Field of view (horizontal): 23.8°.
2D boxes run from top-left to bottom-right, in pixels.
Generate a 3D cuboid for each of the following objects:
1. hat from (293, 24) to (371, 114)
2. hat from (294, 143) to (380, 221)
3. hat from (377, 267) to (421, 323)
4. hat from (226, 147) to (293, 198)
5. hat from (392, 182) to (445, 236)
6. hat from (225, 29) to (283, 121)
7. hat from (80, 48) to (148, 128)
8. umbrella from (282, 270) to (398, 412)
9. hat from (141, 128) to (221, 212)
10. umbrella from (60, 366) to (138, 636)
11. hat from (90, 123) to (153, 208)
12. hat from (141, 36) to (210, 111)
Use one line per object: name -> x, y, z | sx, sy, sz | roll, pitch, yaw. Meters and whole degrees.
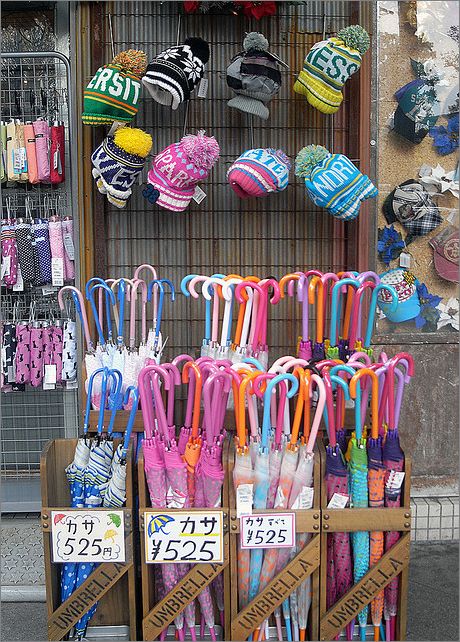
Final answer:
hat -> 0.348, -0.876, 3.846 | 0.265, 0.294, 0.180 | 3, 11, 10
hat -> 0.382, -0.452, 3.841 | 0.196, 0.292, 0.128 | -37, -14, -2
hat -> 0.657, -0.101, 4.239 | 0.156, 0.148, 0.181 | -12, 24, 46
hat -> 0.094, -0.474, 3.819 | 0.140, 0.096, 0.199 | 25, 44, 19
hat -> 0.715, -0.423, 4.208 | 0.195, 0.209, 0.092 | 1, 10, -1
hat -> 0.081, -0.860, 3.853 | 0.194, 0.286, 0.127 | 1, 10, 0
hat -> -0.377, -0.810, 3.885 | 0.254, 0.303, 0.179 | 15, 7, 40
umbrella -> 0.376, 0.011, 3.760 | 0.268, 0.372, 0.277 | 0, 14, -18
hat -> -0.171, -0.518, 3.842 | 0.163, 0.285, 0.262 | -5, 13, -31
umbrella -> -0.425, 0.567, 3.531 | 0.236, 0.809, 0.498 | 0, 10, -6
hat -> -0.403, -0.578, 3.935 | 0.170, 0.279, 0.209 | -3, 51, -30
hat -> -0.189, -0.871, 3.866 | 0.178, 0.243, 0.253 | 7, 12, 27
